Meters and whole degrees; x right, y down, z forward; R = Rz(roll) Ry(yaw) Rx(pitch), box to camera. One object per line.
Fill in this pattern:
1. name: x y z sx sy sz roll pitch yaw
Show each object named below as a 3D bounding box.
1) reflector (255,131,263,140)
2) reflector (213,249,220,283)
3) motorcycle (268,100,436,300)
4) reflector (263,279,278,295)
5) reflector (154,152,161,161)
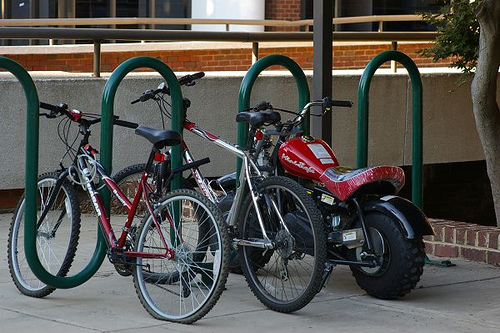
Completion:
1. reflector: 0.075 -0.259 6.136 0.047 0.067 0.058 2 12 6
2. reflector: -0.258 0.748 5.558 0.046 0.234 0.110 0 11 -2
3. motorcycle: 0.740 0.228 6.744 1.004 1.534 2.365 -11 15 -32
4. reflector: 0.165 1.038 6.263 0.043 0.093 0.296 3 1 -14
5. reflector: -0.757 -0.076 5.907 0.058 0.054 0.059 4 4 25
